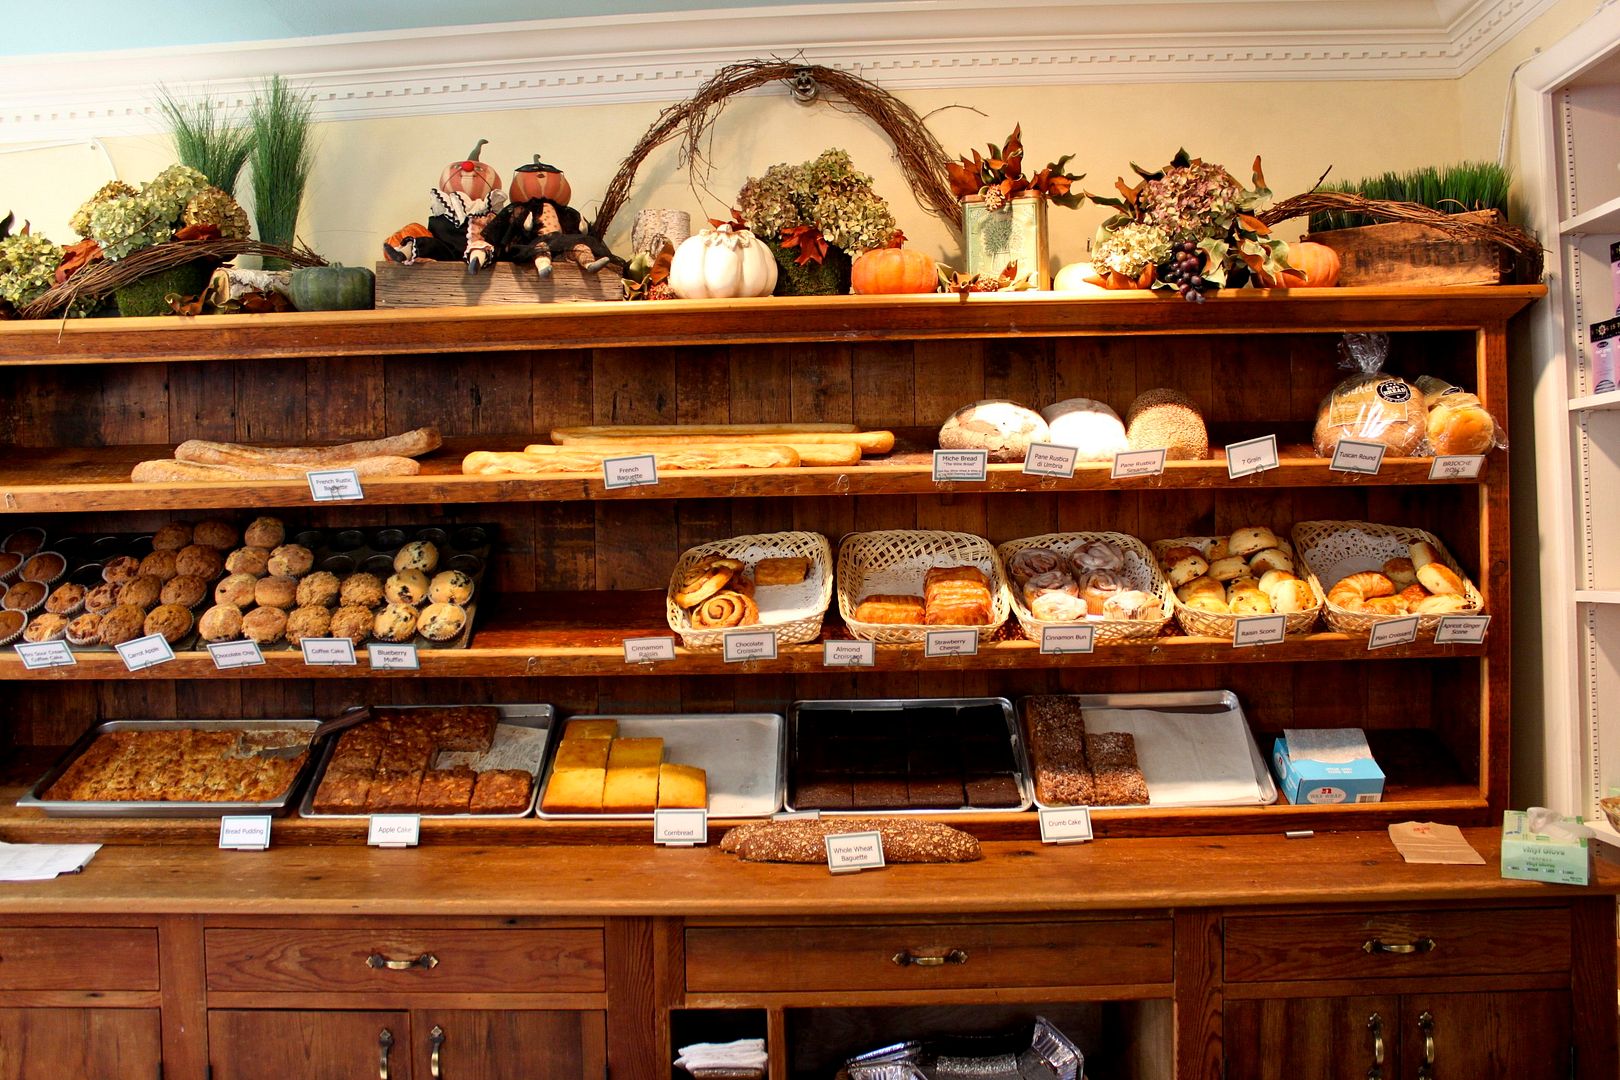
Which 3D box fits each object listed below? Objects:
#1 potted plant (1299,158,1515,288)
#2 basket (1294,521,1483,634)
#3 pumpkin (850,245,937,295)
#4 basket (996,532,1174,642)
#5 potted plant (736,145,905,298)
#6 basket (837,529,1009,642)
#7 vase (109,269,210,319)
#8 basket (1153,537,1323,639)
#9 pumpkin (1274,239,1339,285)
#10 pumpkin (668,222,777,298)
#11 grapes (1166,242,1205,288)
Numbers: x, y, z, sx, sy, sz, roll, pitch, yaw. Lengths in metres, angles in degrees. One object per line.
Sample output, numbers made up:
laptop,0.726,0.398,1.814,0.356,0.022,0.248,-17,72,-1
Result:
potted plant,1.784,-0.920,3.795,0.496,0.225,0.520,0,7,5
basket,1.748,0.102,3.895,0.500,0.320,0.397,-3,3,8
pumpkin,0.243,-0.797,3.827,0.228,0.143,0.188,3,14,9
basket,0.835,0.136,3.897,0.499,0.305,0.420,-3,3,6
potted plant,0.020,-0.967,4.010,0.556,0.400,0.531,-6,11,-38
basket,0.339,0.133,3.906,0.512,0.325,0.452,-3,3,1
vase,-1.916,-0.727,3.791,0.211,0.109,0.186,1,14,7
basket,1.299,0.121,3.908,0.473,0.305,0.431,-3,3,12
pumpkin,1.429,-0.814,3.734,0.114,0.144,0.274,-2,3,44
pumpkin,-0.251,-0.798,3.730,0.307,0.162,0.267,-1,6,22
grapes,1.061,-0.773,3.639,0.106,0.122,0.056,11,-1,12
